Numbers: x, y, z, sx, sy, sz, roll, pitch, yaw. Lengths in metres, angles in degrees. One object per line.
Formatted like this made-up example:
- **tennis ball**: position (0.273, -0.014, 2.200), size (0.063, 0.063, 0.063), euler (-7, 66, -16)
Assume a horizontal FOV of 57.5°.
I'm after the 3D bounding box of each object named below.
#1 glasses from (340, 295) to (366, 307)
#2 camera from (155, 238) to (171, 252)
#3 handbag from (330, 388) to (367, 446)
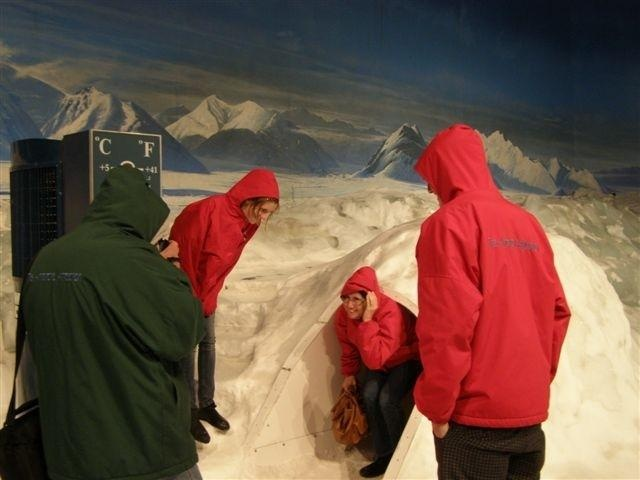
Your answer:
- **glasses**: position (0.224, 0.386, 3.739), size (0.088, 0.087, 0.027), euler (-3, 22, 10)
- **camera**: position (-0.833, 0.023, 3.102), size (0.084, 0.040, 0.113), euler (-7, 1, 1)
- **handbag**: position (0.195, 1.163, 3.852), size (0.261, 0.333, 0.145), euler (1, -6, 21)
